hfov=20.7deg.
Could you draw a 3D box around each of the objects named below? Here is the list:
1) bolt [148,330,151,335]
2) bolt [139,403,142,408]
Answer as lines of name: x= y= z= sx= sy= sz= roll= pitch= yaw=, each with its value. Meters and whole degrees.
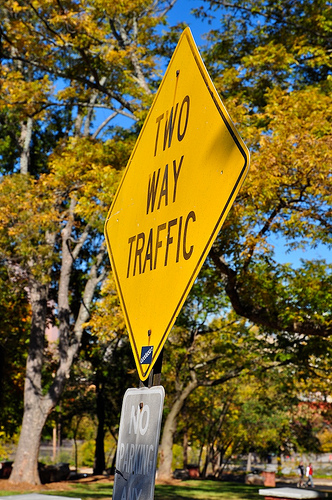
bolt: x=-0.225 y=1.110 z=12.341 sx=0.038 sy=0.059 sz=0.011 roll=0 pitch=-15 yaw=24
bolt: x=-0.336 y=2.078 z=12.266 sx=0.051 sy=0.053 sz=0.012 roll=-20 pitch=-24 yaw=35
